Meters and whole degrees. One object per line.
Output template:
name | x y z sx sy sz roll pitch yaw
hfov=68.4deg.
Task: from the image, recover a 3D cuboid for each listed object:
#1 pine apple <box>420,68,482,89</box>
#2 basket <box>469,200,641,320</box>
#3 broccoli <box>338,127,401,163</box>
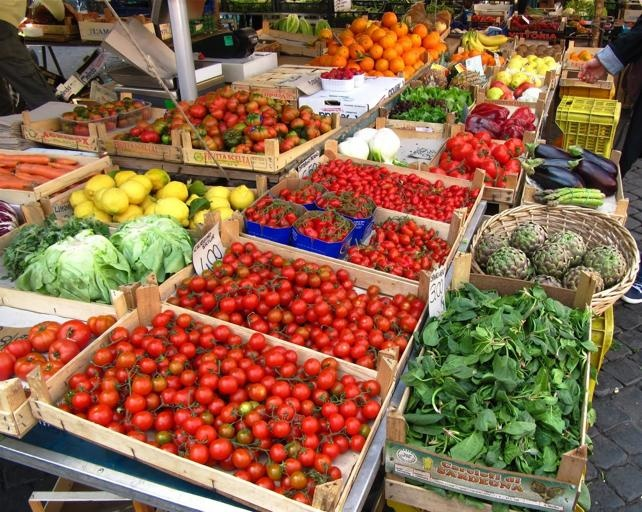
pine apple | 1.633 -2.258 6.006 0.635 0.251 0.372 8 41 11
basket | 1.649 0.006 3.618 1.059 0.336 0.903 2 46 11
broccoli | 0.421 -1.010 4.232 0.529 0.233 0.437 1 39 2
